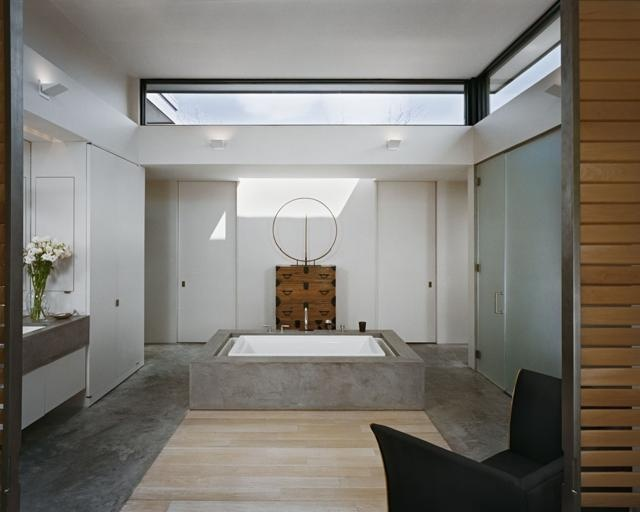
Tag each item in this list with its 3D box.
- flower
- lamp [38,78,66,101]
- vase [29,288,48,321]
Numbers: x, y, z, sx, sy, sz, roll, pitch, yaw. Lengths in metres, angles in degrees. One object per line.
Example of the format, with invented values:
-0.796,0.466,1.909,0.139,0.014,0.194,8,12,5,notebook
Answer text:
-2.405,0.178,4.503,0.376,0.712,0.330,-4,8,-29,flower
-2.144,-1.322,4.018,0.157,0.101,0.144,6,8,33,lamp
-2.492,0.413,4.464,0.124,0.256,0.305,-4,8,-29,vase
